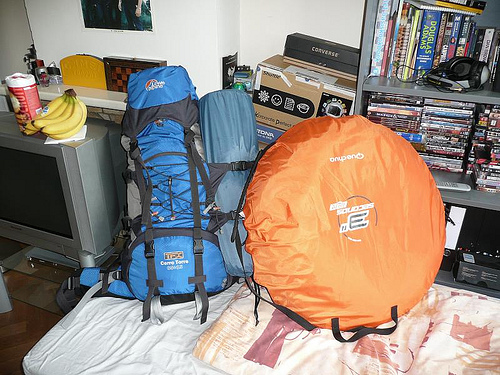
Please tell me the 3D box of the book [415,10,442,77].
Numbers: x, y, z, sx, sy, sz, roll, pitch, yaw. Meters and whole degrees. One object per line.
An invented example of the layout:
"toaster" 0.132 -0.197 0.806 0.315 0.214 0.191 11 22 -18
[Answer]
"book" 0.851 -0.701 1.867 0.089 0.233 0.219 7 31 15

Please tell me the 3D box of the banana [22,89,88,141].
"banana" -0.893 -0.339 1.838 0.197 0.148 0.287 25 56 14

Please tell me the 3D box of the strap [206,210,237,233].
"strap" -0.135 0.125 1.694 0.166 0.047 0.098 -2 -22 -4

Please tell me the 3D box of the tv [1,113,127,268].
"tv" -0.892 -0.008 1.898 0.654 0.566 0.357 16 23 12

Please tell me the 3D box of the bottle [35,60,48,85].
"bottle" -1.395 -0.780 2.639 0.053 0.151 0.073 21 31 40

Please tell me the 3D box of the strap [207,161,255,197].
"strap" -0.116 -0.071 1.815 0.220 0.139 0.234 -9 27 -23

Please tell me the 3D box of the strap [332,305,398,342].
"strap" 0.437 0.510 1.458 0.267 0.109 0.054 -4 23 -9

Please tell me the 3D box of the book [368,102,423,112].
"book" 0.714 -0.398 1.921 0.253 0.034 0.009 5 24 11

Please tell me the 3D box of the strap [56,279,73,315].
"strap" -0.853 0.525 1.870 0.055 0.142 0.101 2 12 1
